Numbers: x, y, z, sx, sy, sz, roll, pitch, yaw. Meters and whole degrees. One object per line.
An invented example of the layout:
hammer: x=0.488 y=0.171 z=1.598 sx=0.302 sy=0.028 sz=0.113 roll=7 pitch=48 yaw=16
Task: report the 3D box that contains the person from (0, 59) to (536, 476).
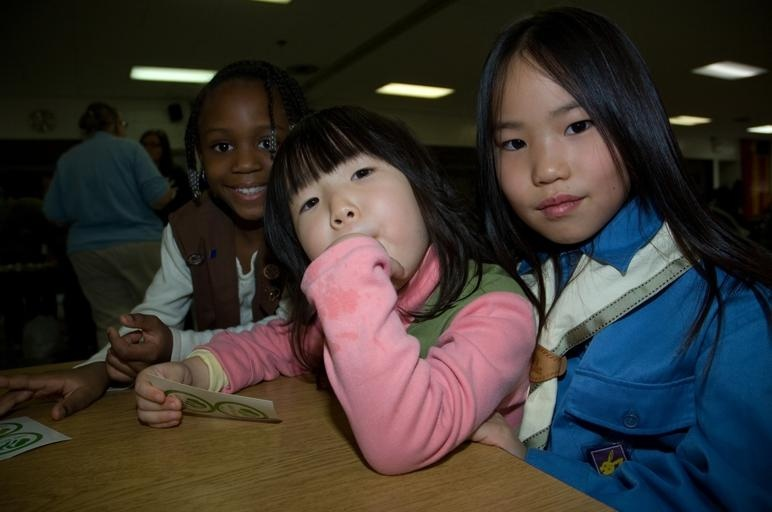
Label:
person: x=-0.142 y=0.092 z=1.309 sx=1.131 sy=0.707 sz=0.813 roll=-10 pitch=10 yaw=-38
